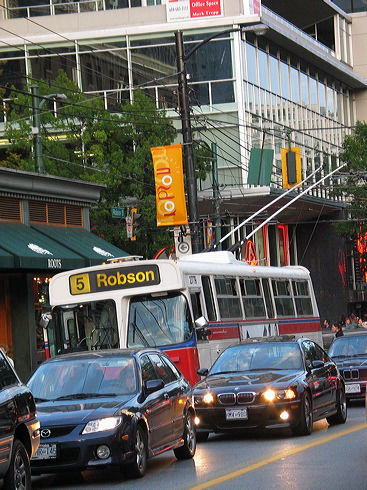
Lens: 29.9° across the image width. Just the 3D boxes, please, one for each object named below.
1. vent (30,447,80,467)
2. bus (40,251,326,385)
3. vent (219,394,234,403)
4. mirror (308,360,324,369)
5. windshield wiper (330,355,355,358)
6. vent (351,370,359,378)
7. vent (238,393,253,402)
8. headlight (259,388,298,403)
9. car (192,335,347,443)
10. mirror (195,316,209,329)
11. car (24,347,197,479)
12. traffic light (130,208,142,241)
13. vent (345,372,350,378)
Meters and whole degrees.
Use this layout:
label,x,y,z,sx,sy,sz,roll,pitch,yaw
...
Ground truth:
label,x,y,z,sx,sy,sz,roll,pitch,yaw
vent,-1.098,1.816,5.987,0.351,0.198,0.318,-3,-12,5
bus,1.055,2.230,18.455,2.733,3.318,10.966,-11,-9,22
vent,0.615,2.173,9.705,0.120,0.093,0.017,0,-9,12
mirror,2.050,1.867,10.714,0.175,0.085,0.172,-6,1,0
windshield wiper,3.479,2.471,15.267,0.420,0.061,0.031,0,-18,-12
vent,3.505,2.647,14.079,0.133,0.144,0.033,-2,-2,26
vent,0.861,2.136,9.609,0.130,0.139,0.035,1,4,6
headlight,1.313,2.108,9.566,0.545,0.176,0.166,-7,-2,-1
car,1.492,2.378,11.666,1.774,1.486,4.392,-9,-11,21
mirror,0.342,1.493,13.194,0.217,0.189,0.311,-7,-2,1
car,-0.917,1.888,7.758,1.525,1.289,2.952,-8,-11,13
traffic light,-2.430,-1.115,35.377,0.641,1.347,1.248,-6,-2,-4
vent,3.362,2.669,14.115,0.115,0.169,0.017,2,-1,18
